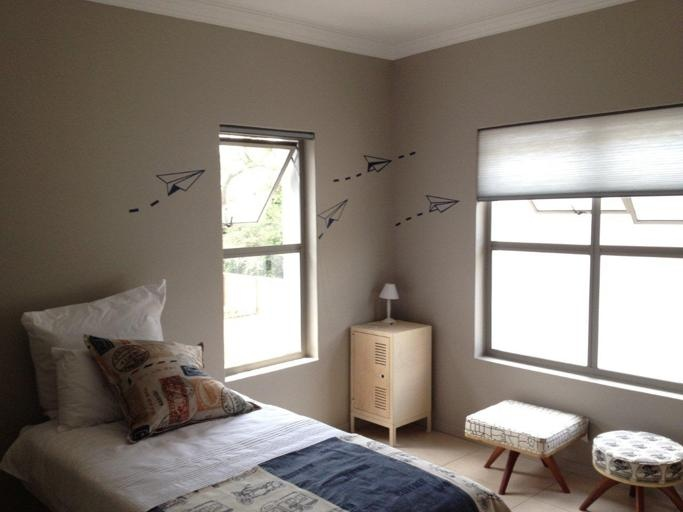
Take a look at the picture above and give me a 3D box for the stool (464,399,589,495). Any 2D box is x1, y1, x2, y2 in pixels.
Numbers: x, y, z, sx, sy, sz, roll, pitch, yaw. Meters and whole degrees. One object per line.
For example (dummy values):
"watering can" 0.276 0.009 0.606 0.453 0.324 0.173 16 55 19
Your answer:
"stool" 1.243 1.200 3.752 0.619 0.396 0.577 -7 10 -44
